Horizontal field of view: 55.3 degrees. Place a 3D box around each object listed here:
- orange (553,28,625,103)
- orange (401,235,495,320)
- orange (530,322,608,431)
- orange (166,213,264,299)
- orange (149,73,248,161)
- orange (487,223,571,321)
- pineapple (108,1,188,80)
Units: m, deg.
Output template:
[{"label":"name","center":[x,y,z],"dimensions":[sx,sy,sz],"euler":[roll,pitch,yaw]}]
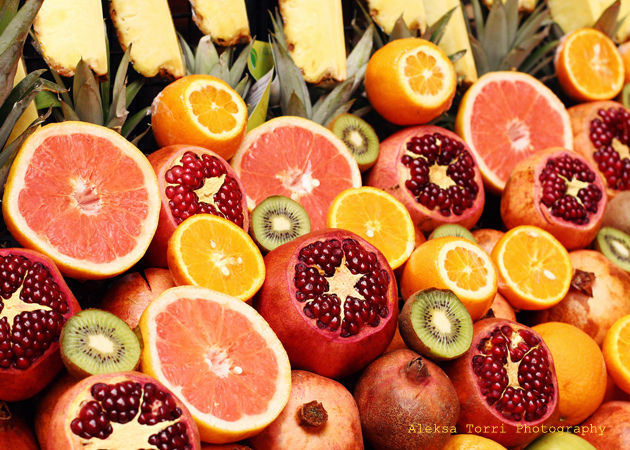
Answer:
[{"label":"orange","center":[1.495,-0.866,3.431],"dimensions":[0.379,0.429,0.230],"euler":[-10,-2,-25]},{"label":"orange","center":[0.553,0.207,2.534],"dimensions":[0.330,0.353,0.226],"euler":[17,-29,-22]},{"label":"orange","center":[1.049,0.637,2.628],"dimensions":[0.343,0.460,0.368],"euler":[0,-1,2]},{"label":"orange","center":[-0.358,0.123,2.233],"dimensions":[0.310,0.341,0.184],"euler":[18,-41,-35]},{"label":"orange","center":[-0.523,-0.448,2.695],"dimensions":[0.368,0.364,0.347],"euler":[-37,7,-25]},{"label":"orange","center":[0.996,0.251,2.768],"dimensions":[0.343,0.406,0.241],"euler":[15,-35,16]},{"label":"pineapple","center":[-0.747,-0.815,2.674],"dimensions":[0.229,0.331,0.318],"euler":[-6,19,-20]}]
